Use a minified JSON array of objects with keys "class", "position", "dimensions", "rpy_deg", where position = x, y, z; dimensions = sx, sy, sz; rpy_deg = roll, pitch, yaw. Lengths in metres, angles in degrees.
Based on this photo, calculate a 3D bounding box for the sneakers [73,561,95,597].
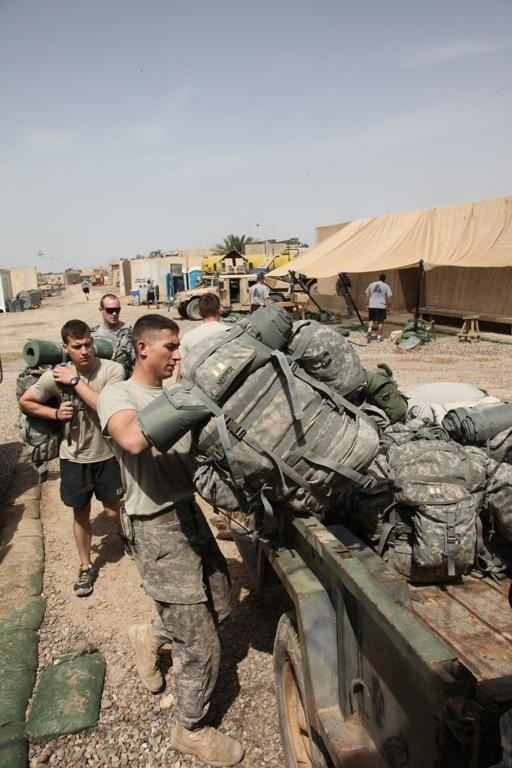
[{"class":"sneakers","position":[-1.089,1.249,3.229],"dimensions":[0.091,0.099,0.215],"rpy_deg":[-1,6,-5]}]

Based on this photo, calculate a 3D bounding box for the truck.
[{"class":"truck","position":[-0.461,-3.087,17.787],"dimensions":[4.721,1.703,3.287],"rpy_deg":[-2,9,-8]}]

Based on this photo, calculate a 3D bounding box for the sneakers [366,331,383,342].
[{"class":"sneakers","position":[2.865,-1.098,12.255],"dimensions":[0.615,0.270,0.190],"rpy_deg":[2,13,35]}]

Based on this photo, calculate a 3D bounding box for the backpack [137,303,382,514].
[{"class":"backpack","position":[0.018,0.117,1.691],"dimensions":[0.792,0.730,0.311],"rpy_deg":[-2,11,-9]}]

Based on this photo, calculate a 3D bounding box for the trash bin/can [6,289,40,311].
[{"class":"trash bin/can","position":[-12.915,-4.520,27.934],"dimensions":[1.110,0.728,1.999],"rpy_deg":[-1,14,-2]}]

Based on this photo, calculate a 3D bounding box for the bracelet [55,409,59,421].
[{"class":"bracelet","position":[-1.171,0.190,2.961],"dimensions":[0.016,0.056,0.047],"rpy_deg":[-4,12,-20]}]

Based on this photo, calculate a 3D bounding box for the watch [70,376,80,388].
[{"class":"watch","position":[-1.013,-0.004,2.815],"dimensions":[0.042,0.063,0.057],"rpy_deg":[34,-31,-13]}]
